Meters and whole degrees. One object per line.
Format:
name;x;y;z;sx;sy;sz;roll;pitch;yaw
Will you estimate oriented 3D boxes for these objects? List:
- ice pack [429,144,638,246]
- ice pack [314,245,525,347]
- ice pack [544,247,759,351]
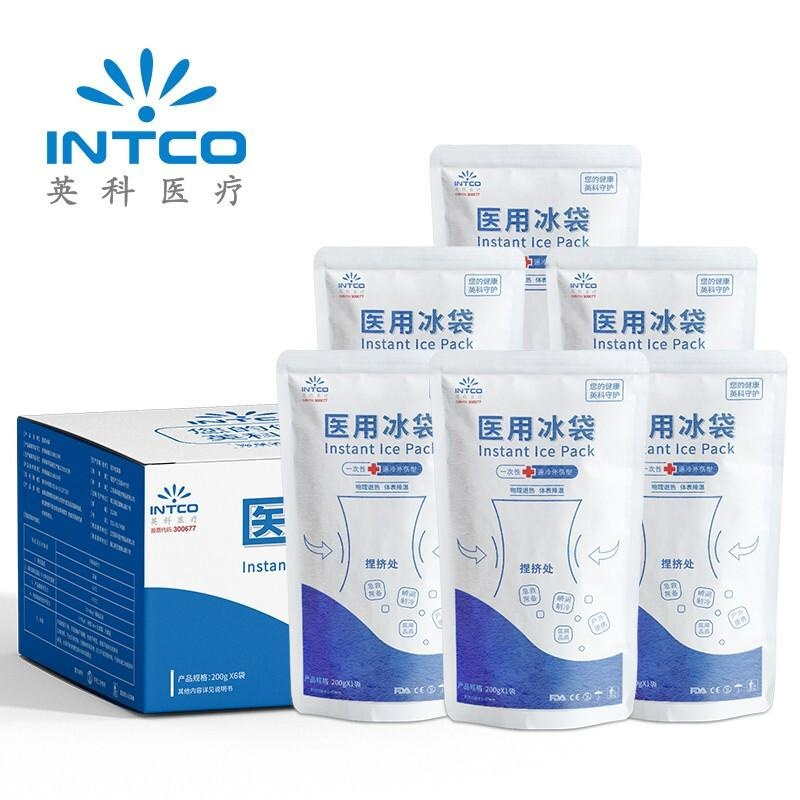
ice pack;0.282;-0.419;2.105;0.443;0.172;0.058;-10;6;2
ice pack;0.039;-0.175;1.754;0.386;0.194;0.038;0;-4;3
ice pack;0.411;-0.165;1.697;0.373;0.190;0.038;0;-2;-3
